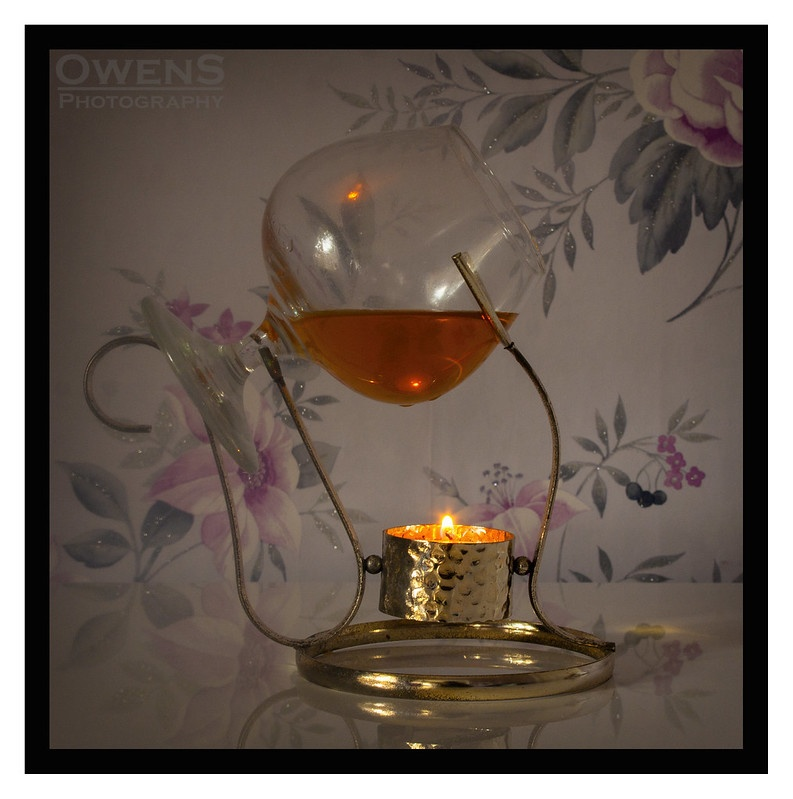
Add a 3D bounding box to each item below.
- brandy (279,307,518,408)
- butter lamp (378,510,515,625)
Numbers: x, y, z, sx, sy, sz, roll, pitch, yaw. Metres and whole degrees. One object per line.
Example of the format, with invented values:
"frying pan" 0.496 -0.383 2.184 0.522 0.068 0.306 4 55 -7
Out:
"brandy" 0.004 -0.025 0.660 0.173 0.059 0.168 -1 2 -36
"butter lamp" 0.039 0.131 0.703 0.100 0.060 0.102 1 -3 23
